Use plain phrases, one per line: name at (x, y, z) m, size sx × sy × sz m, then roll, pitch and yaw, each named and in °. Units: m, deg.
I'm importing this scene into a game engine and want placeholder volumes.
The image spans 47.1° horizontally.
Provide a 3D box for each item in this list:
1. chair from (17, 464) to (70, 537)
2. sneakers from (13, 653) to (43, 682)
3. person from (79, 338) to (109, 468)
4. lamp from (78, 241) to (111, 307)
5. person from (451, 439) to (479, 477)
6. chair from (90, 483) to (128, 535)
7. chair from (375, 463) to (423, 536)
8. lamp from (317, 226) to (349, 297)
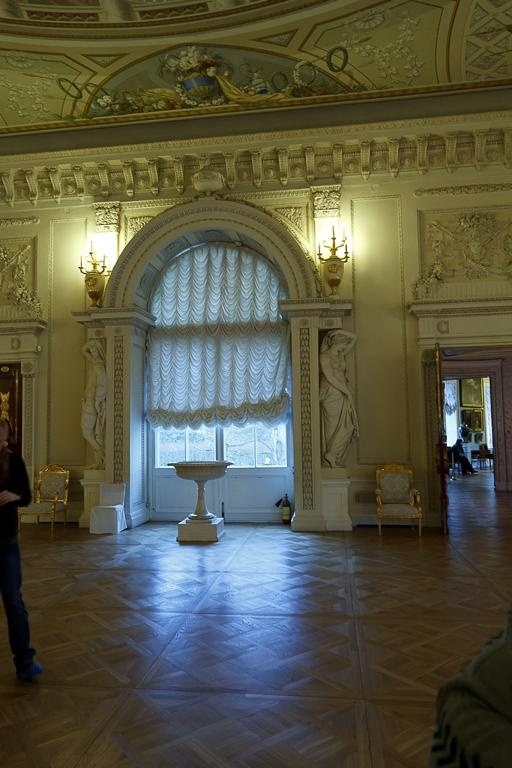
chair at (-2.962, 1.584, 8.274) m, size 0.623 × 0.810 × 0.615 m, roll 2°, pitch -4°, yaw -36°
sneakers at (-1.241, 1.559, 3.251) m, size 0.072 × 0.154 × 0.162 m, roll 0°, pitch 3°, yaw 24°
person at (-2.351, 0.255, 8.550) m, size 0.364 × 1.733 × 0.349 m, roll -2°, pitch 1°, yaw -12°
lamp at (-2.425, -1.613, 8.807) m, size 0.476 × 0.915 × 0.451 m, roll 2°, pitch -6°, yaw -24°
person at (6.000, 2.131, 17.249) m, size 0.671 × 0.993 × 1.162 m, roll -1°, pitch 1°, yaw 20°
chair at (-2.042, 1.710, 8.089) m, size 0.516 × 0.622 × 0.467 m, roll 1°, pitch -7°, yaw -14°
chair at (1.772, 1.455, 7.509) m, size 0.580 × 0.910 × 0.611 m, roll 1°, pitch -10°, yaw -3°
lamp at (1.080, -1.707, 8.271) m, size 0.499 × 0.915 × 0.484 m, roll -2°, pitch 3°, yaw -10°
